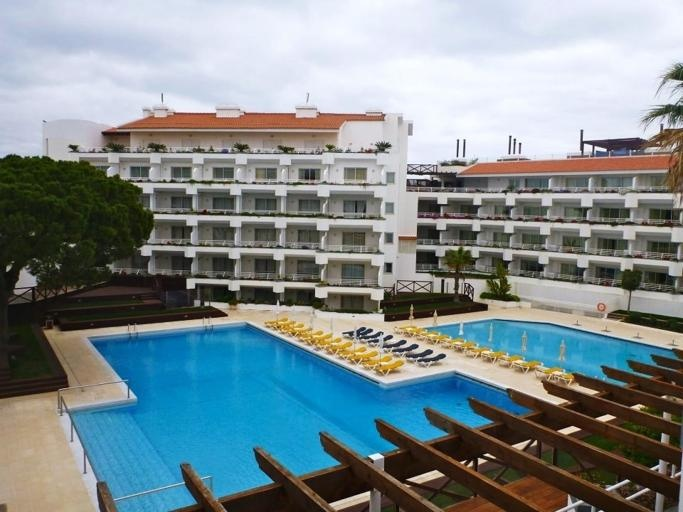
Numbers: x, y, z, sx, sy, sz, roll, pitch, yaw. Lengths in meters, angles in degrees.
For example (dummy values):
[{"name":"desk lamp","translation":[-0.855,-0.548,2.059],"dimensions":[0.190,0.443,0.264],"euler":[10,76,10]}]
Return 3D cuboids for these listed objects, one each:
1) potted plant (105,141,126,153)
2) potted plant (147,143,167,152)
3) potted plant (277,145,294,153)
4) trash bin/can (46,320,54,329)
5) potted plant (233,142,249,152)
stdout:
[{"name":"potted plant","translation":[-20.333,-9.731,51.297],"dimensions":[2.089,0.898,0.766],"euler":[2,3,22]},{"name":"potted plant","translation":[-16.497,-9.751,50.820],"dimensions":[1.825,0.859,0.909],"euler":[2,3,26]},{"name":"potted plant","translation":[-4.862,-9.492,49.916],"dimensions":[1.319,0.536,1.319],"euler":[-4,-9,16]},{"name":"trash bin/can","translation":[-20.101,4.744,38.995],"dimensions":[0.603,0.726,0.565],"euler":[-1,3,-22]},{"name":"potted plant","translation":[-8.849,-9.489,50.089],"dimensions":[1.265,0.729,1.214],"euler":[-4,13,-27]}]
